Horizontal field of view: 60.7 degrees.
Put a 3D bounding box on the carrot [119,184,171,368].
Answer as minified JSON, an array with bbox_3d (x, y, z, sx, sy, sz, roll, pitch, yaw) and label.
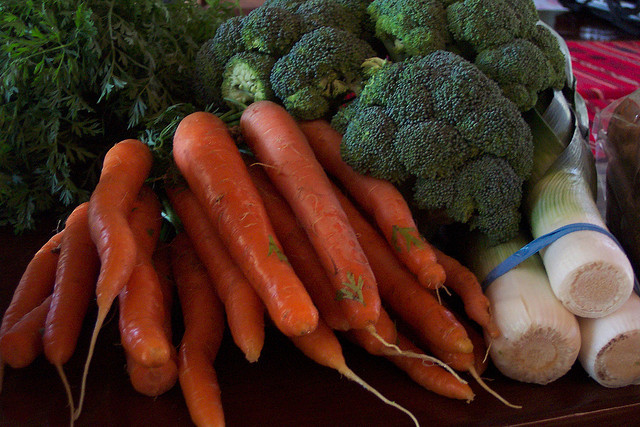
[{"bbox_3d":[-0.556,0.186,1.726,0.131,0.160,0.690,14,32,-27],"label":"carrot"}]

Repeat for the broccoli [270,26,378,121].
[{"bbox_3d":[0.049,-0.520,2.018,0.381,0.293,0.316,4,21,20],"label":"broccoli"}]

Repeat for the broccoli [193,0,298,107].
[{"bbox_3d":[-0.291,-0.608,2.025,0.196,0.433,0.333,51,9,-15],"label":"broccoli"}]

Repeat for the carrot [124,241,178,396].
[{"bbox_3d":[-0.521,0.309,1.698,0.141,0.122,0.516,-2,40,-16],"label":"carrot"}]

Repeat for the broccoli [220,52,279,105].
[{"bbox_3d":[-0.264,-0.487,2.018,0.168,0.205,0.083,39,37,-7],"label":"broccoli"}]

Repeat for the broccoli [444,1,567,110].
[{"bbox_3d":[0.658,-0.574,1.936,0.330,0.189,0.413,44,36,-2],"label":"broccoli"}]
